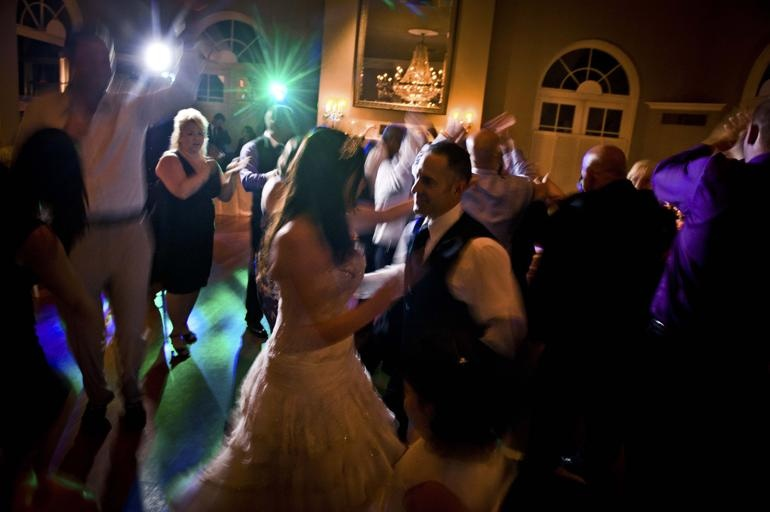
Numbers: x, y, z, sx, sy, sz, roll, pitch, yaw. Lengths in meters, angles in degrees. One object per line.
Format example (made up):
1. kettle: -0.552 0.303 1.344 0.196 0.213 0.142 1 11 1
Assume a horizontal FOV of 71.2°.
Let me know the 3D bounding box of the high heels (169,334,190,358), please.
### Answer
1. high heels: -1.463 0.639 3.777 0.112 0.158 0.078 -5 -10 -28

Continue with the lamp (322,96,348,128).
1. lamp: -0.670 -2.015 7.424 0.342 0.363 0.792 5 14 -7

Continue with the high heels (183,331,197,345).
1. high heels: -1.430 0.602 3.907 0.091 0.101 0.057 -3 2 -26

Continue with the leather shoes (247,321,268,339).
1. leather shoes: -0.964 0.553 4.050 0.102 0.067 0.170 -14 59 -47
